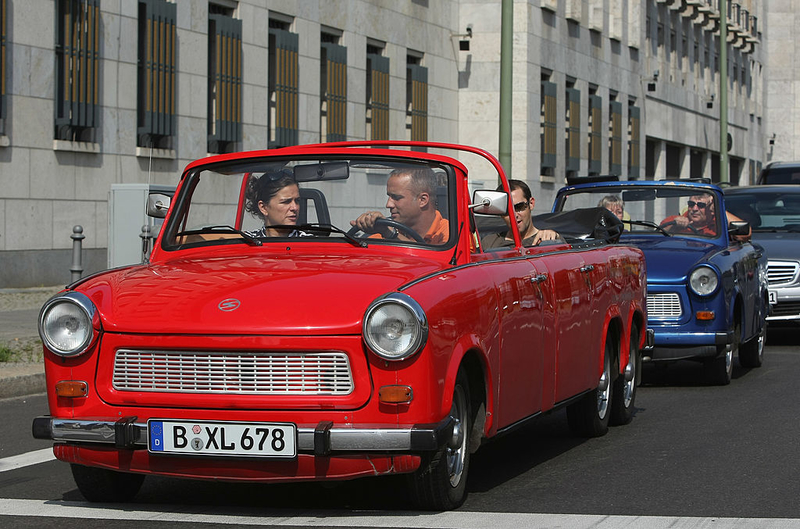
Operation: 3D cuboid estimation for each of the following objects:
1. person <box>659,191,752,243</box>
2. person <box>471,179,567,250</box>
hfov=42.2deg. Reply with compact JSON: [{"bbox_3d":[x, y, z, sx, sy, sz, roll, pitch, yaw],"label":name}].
[{"bbox_3d":[3.729,-0.484,12.968,0.541,0.493,0.938,0,-6,27],"label":"person"},{"bbox_3d":[1.091,-0.343,9.425,0.918,0.750,0.472,-7,-3,25],"label":"person"}]
